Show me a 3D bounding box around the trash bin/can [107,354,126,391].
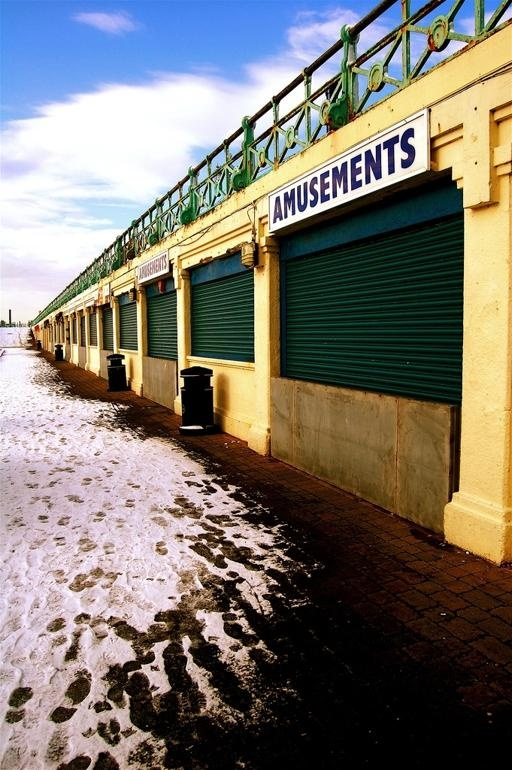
[{"bbox_3d":[-4.546,-0.412,18.109,0.568,1.194,1.216,-1,4,-12],"label":"trash bin/can"}]

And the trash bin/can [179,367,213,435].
[{"bbox_3d":[-1.041,0.263,9.910,0.622,1.162,0.489,-1,4,-14],"label":"trash bin/can"}]

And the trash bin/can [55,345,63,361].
[{"bbox_3d":[-14.269,-2.365,39.992,0.485,1.184,1.257,-2,5,-23],"label":"trash bin/can"}]
